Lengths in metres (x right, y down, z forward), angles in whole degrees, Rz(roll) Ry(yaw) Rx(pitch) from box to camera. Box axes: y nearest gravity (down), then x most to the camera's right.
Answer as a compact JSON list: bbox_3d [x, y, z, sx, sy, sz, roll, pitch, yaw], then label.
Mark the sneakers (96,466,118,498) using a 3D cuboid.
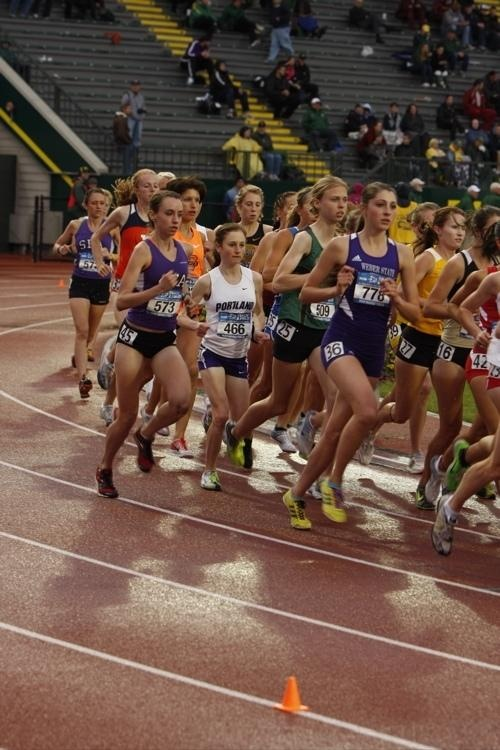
[{"bbox_3d":[-1.119,0.837,5.046,0.112,0.127,0.296,1,14,-23],"label":"sneakers"}]
